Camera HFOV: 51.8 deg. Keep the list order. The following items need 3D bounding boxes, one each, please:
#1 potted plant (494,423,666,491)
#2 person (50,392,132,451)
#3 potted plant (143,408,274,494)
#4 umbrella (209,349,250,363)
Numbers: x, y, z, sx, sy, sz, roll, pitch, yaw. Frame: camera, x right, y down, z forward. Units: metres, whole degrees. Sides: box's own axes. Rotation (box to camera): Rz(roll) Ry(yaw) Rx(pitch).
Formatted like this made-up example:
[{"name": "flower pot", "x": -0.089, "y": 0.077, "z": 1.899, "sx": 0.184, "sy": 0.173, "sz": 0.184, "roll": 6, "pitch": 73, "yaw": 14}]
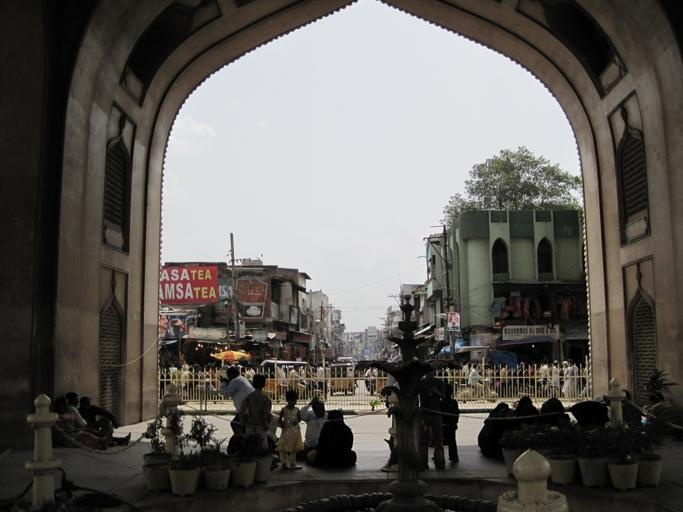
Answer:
[{"name": "potted plant", "x": 3.131, "y": 2.582, "z": 8.997, "sx": 1.211, "sy": 0.558, "sz": 1.328, "roll": -1, "pitch": -17, "yaw": 8}, {"name": "person", "x": -4.303, "y": 2.789, "z": 11.937, "sx": 1.127, "sy": 0.911, "sz": 1.674, "roll": 3, "pitch": -10, "yaw": -23}, {"name": "potted plant", "x": -1.971, "y": 2.657, "z": 9.653, "sx": 1.458, "sy": 1.023, "sz": 1.118, "roll": 3, "pitch": -9, "yaw": -23}, {"name": "umbrella", "x": -3.914, "y": 3.776, "z": 26.172, "sx": 0.996, "sy": 0.359, "sz": 0.981, "roll": -6, "pitch": -13, "yaw": 40}]
